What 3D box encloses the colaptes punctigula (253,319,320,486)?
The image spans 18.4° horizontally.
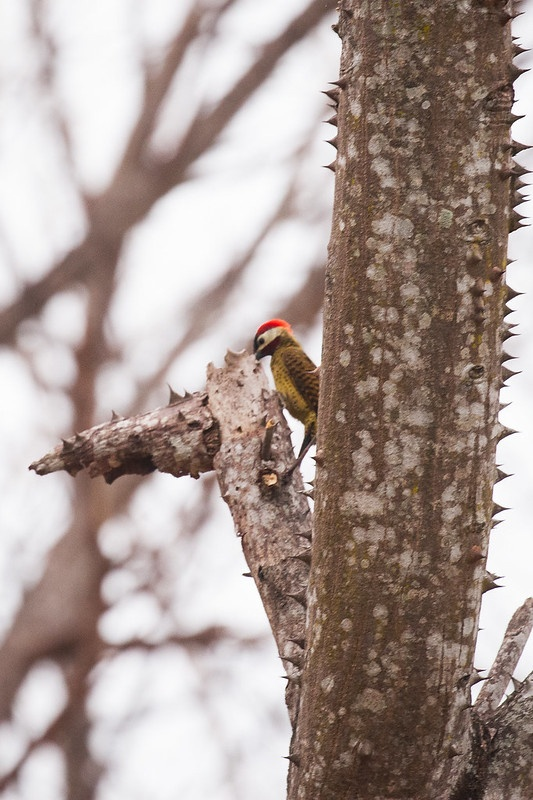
[{"bbox_3d":[0.057,0.016,5.389,0.319,0.589,0.220,2,-52,-1],"label":"colaptes punctigula"}]
